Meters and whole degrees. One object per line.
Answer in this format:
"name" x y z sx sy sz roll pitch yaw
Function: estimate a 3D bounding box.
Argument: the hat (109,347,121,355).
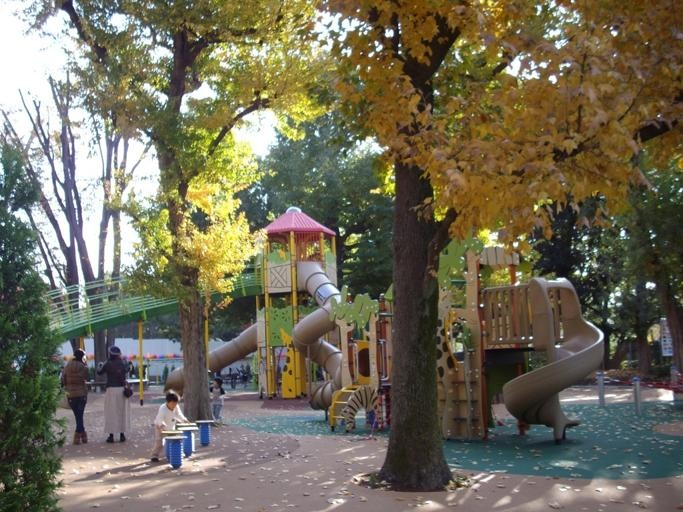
"hat" -4.715 1.965 15.044 0.192 0.217 0.243 2 5 -16

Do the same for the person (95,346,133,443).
"person" -4.769 2.861 15.258 0.609 2.064 1.200 0 -11 -20

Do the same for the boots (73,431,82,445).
"boots" -5.437 3.737 14.899 0.157 0.248 0.301 0 -13 -19

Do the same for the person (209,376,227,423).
"person" -3.254 3.731 19.056 0.316 1.231 1.914 -2 -13 -10

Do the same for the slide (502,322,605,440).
"slide" 4.227 2.379 14.456 1.948 2.744 1.951 -2 -11 2

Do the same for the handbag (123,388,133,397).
"handbag" -4.448 2.835 15.078 0.169 0.183 0.546 -1 -13 -13

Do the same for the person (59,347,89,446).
"person" -5.590 2.901 15.206 0.503 2.032 1.191 0 -11 -21

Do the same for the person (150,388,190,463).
"person" -3.125 3.040 13.113 0.640 1.257 1.508 -1 -12 -13

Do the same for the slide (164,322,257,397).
"slide" -4.800 4.341 28.575 4.523 1.980 0.996 -16 -31 -22
